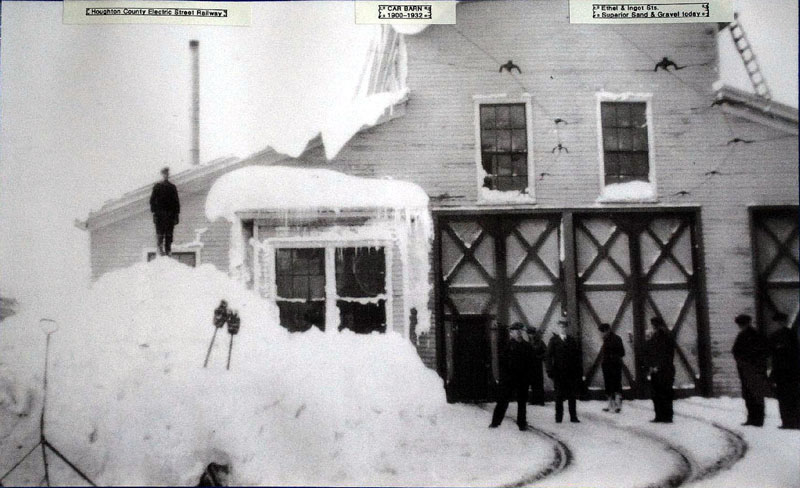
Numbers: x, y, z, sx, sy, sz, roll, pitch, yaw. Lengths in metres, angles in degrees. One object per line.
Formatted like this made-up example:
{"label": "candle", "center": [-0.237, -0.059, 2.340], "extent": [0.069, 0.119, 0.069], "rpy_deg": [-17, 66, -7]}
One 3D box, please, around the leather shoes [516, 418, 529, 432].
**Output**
{"label": "leather shoes", "center": [1.711, 2.495, 14.127], "extent": [0.179, 0.163, 0.060], "rpy_deg": [2, -1, -16]}

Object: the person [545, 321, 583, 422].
{"label": "person", "center": [2.323, 1.796, 14.331], "extent": [0.490, 1.098, 0.280], "rpy_deg": [2, -1, 9]}

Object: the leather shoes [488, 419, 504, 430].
{"label": "leather shoes", "center": [1.323, 2.521, 14.031], "extent": [0.170, 0.154, 0.084], "rpy_deg": [3, -6, 6]}

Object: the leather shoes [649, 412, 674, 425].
{"label": "leather shoes", "center": [3.707, 2.455, 14.265], "extent": [0.386, 0.248, 0.121], "rpy_deg": [2, -10, 15]}

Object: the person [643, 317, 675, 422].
{"label": "person", "center": [3.683, 1.781, 14.375], "extent": [0.408, 1.080, 0.217], "rpy_deg": [2, -1, 13]}

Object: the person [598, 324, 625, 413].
{"label": "person", "center": [2.996, 1.765, 14.442], "extent": [0.360, 0.942, 0.237], "rpy_deg": [2, -1, 10]}

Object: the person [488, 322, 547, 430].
{"label": "person", "center": [1.600, 1.862, 14.267], "extent": [0.669, 1.187, 0.405], "rpy_deg": [2, -1, 1]}
